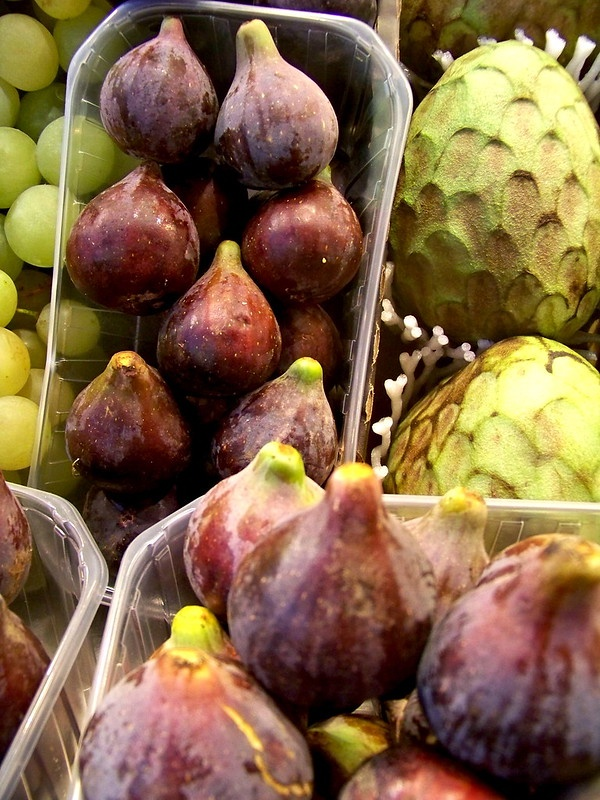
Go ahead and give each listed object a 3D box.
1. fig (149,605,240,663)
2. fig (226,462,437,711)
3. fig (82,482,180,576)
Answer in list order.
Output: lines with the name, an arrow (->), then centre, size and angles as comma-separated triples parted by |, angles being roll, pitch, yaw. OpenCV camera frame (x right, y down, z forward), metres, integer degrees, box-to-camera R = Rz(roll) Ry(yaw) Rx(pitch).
fig -> -0.061, 0.126, 0.399 | 0.033, 0.034, 0.032 | -7, 83, -56
fig -> 0.013, 0.078, 0.378 | 0.112, 0.148, 0.110 | 8, 36, 1
fig -> -0.154, 0.119, 0.625 | 0.066, 0.027, 0.080 | -4, 71, 28
